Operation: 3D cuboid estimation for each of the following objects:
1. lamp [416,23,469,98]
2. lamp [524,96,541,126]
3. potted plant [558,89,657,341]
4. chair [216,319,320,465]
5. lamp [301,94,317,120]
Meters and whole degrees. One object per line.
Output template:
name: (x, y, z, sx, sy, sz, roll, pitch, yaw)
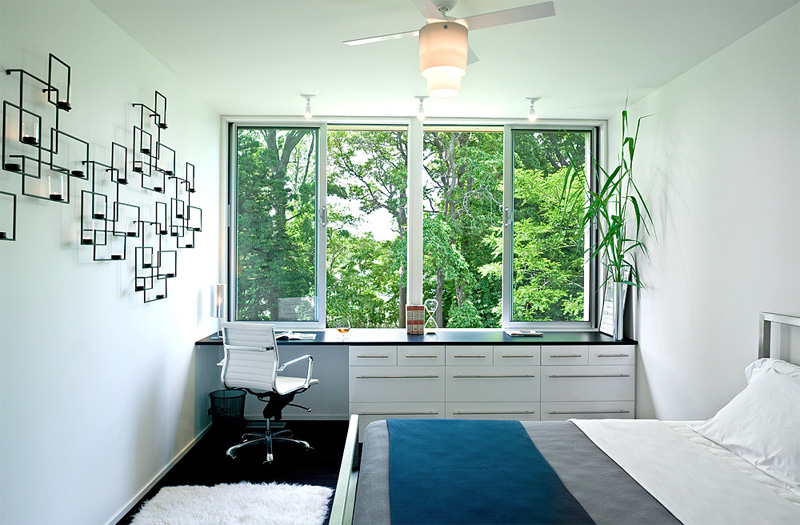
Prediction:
lamp: (0.236, -1.169, 3.405, 0.406, 0.432, 0.393, 0, -2, -5)
lamp: (1.271, -1.445, 5.300, 0.178, 0.213, 0.174, 0, -2, 3)
potted plant: (1.968, -0.378, 5.348, 0.611, 2.236, 1.025, -1, -3, 0)
chair: (-1.134, 1.133, 5.070, 0.727, 1.195, 0.888, -1, -3, 7)
lamp: (-0.853, -1.453, 5.239, 0.165, 0.211, 0.160, 0, -2, -34)
